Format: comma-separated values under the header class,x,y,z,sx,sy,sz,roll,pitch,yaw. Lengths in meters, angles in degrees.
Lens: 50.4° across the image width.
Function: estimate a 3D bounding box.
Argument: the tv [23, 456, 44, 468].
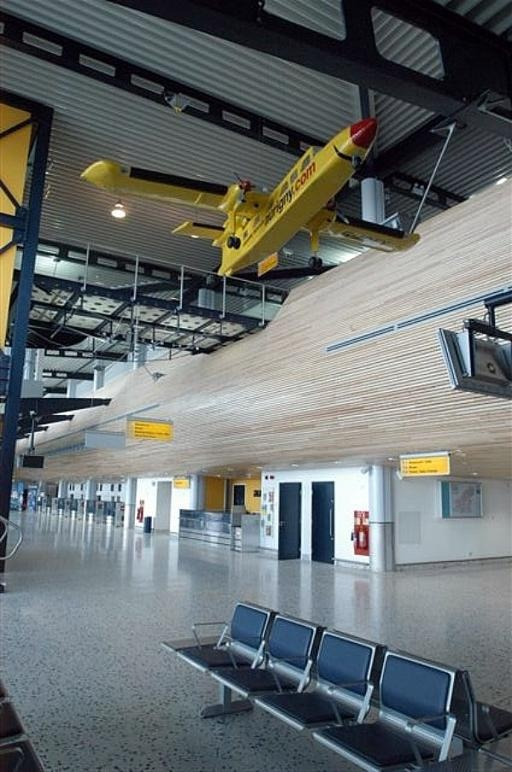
class,x,y,z,sx,sy,sz,roll,pitch,yaw
tv,-6.725,2.255,16.267,0.614,0.378,0.597,7,-16,-34
